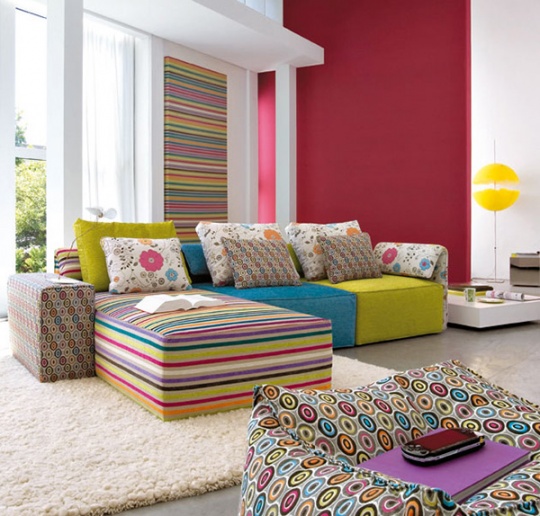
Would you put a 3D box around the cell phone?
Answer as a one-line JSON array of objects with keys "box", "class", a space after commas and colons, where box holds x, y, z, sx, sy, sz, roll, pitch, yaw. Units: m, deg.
[{"box": [0.323, 0.334, 0.875, 0.130, 0.015, 0.057, -7, 8, -34], "class": "cell phone"}]

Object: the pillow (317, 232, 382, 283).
[{"box": [0.651, -0.026, 4.095, 0.529, 0.422, 0.159, -5, -24, -33], "class": "pillow"}]

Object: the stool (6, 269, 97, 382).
[{"box": [-1.393, 0.215, 3.051, 0.545, 0.794, 1.026, -3, 6, -33], "class": "stool"}]

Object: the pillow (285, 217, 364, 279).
[{"box": [0.383, -0.114, 4.184, 0.587, 0.529, 0.172, -7, -18, -30], "class": "pillow"}]

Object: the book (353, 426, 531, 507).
[{"box": [0.342, 0.334, 0.838, 0.205, 0.018, 0.143, -2, 3, -42], "class": "book"}]

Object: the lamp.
[{"box": [3.501, -0.791, 7.351, 0.668, 2.234, 0.832, 2, 4, 23], "class": "lamp"}]
